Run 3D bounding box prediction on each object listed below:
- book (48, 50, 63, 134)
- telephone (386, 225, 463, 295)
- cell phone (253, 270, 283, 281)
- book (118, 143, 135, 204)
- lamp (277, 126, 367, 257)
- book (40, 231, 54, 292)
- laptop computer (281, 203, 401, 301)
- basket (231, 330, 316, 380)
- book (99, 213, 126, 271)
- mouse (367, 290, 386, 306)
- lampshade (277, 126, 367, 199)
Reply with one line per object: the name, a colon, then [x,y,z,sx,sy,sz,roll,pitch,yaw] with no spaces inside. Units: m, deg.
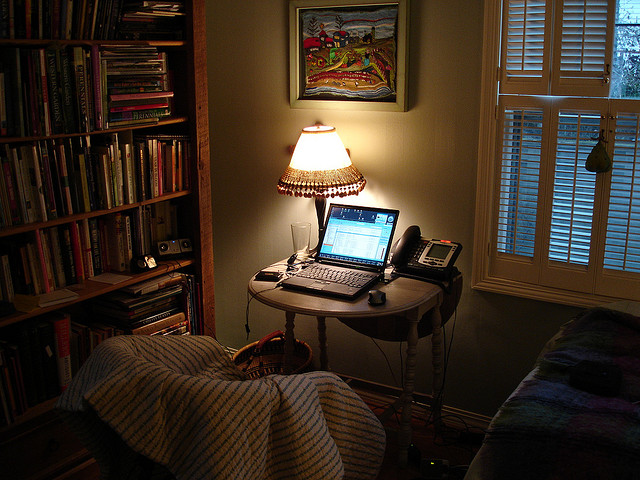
book: [-1.185,-0.659,2.359,0.040,0.356,0.069,-5,17,-27]
telephone: [0.533,0.078,2.659,0.371,0.143,0.346,18,35,39]
cell phone: [-0.263,0.181,2.616,0.141,0.038,0.114,2,16,-5]
book: [-1.001,-0.342,2.708,0.042,0.286,0.253,-8,19,-16]
lamp: [0.007,-0.308,2.964,0.648,0.863,0.625,-2,13,-8]
book: [-1.282,0.100,2.482,0.036,0.291,0.031,-1,16,-15]
laptop computer: [0.107,0.041,2.585,0.397,0.350,0.486,11,17,26]
basket: [-0.224,0.611,2.775,0.353,0.234,0.291,3,9,9]
book: [-1.091,0.003,2.761,0.046,0.313,0.279,-6,10,-34]
mouse: [0.255,0.251,2.367,0.080,0.048,0.129,7,16,13]
lampshade: [-0.004,-0.426,2.935,0.467,0.404,0.466,19,33,39]
